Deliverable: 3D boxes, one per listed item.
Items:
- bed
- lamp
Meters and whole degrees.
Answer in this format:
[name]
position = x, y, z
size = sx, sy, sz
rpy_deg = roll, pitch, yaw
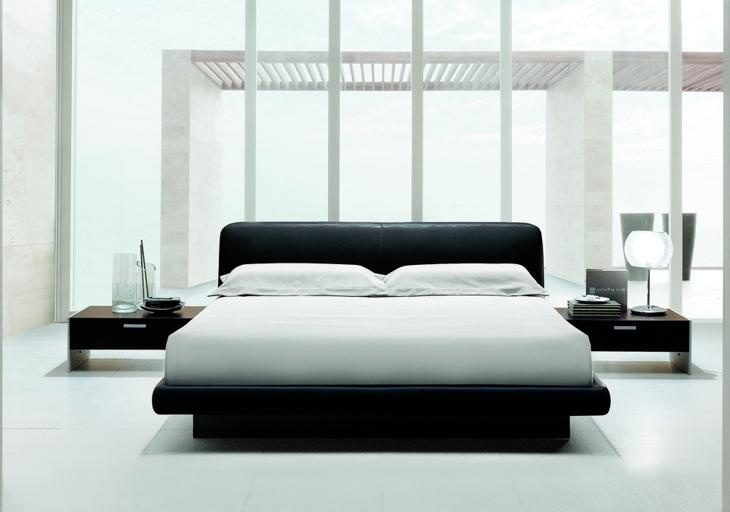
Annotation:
[bed]
position = 0.134, 0.611, 4.623
size = 2.215, 0.773, 1.793
rpy_deg = 0, -1, 1
[lamp]
position = 2.346, 0.157, 5.298
size = 0.437, 0.619, 0.397
rpy_deg = 1, -2, 25
